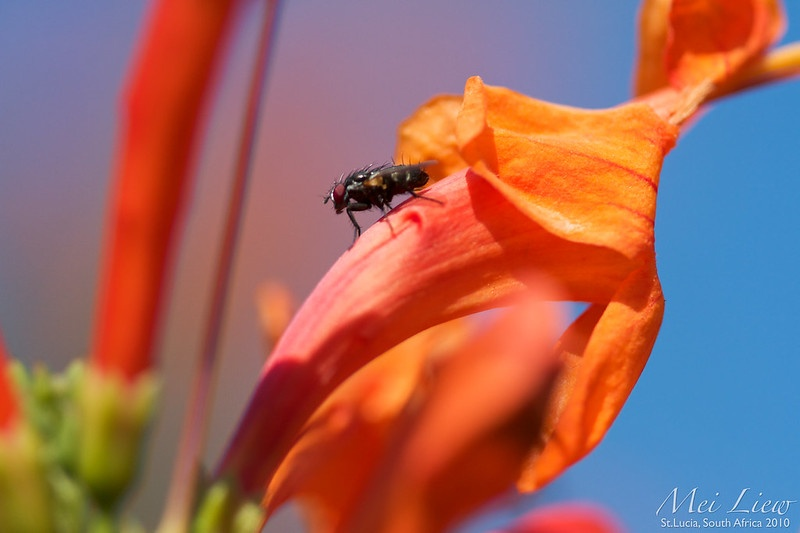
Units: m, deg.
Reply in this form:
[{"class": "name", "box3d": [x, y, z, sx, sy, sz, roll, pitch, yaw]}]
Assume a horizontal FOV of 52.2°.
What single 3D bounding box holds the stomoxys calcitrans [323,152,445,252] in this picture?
[{"class": "stomoxys calcitrans", "box3d": [-0.024, -0.120, 1.275, 0.211, 0.089, 0.177, -19, -3, -7]}]
